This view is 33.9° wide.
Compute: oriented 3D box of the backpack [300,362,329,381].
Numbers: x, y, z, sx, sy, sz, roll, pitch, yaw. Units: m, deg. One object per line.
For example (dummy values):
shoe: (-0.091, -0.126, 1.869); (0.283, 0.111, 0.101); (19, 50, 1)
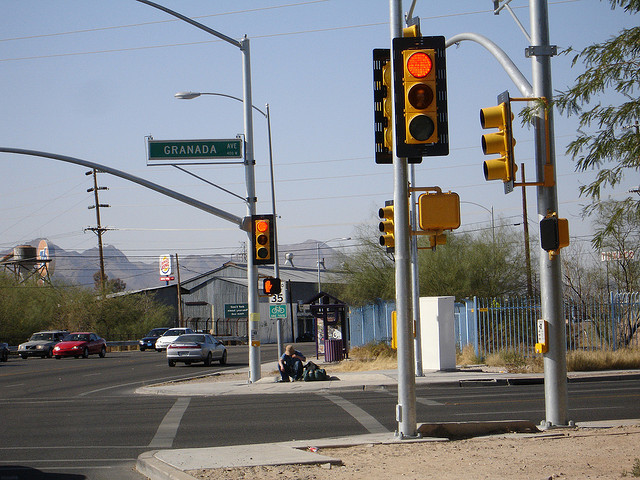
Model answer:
backpack: (-0.233, 4.435, 35.146); (0.791, 0.424, 1.107); (0, -7, 4)

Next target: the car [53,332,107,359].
car: (-12.735, 5.620, 55.706); (1.648, 1.485, 3.517); (-5, -7, 12)

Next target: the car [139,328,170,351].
car: (-10.618, 6.244, 65.810); (1.174, 1.059, 2.748); (-1, -7, 9)

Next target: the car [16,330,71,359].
car: (-14.765, 5.644, 57.002); (1.147, 1.010, 2.704); (-4, -8, 13)

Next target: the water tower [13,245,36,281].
water tower: (-25.581, 2.043, 90.901); (2.168, 3.692, 2.298); (-1, -6, 1)

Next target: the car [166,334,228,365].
car: (-5.467, 4.941, 47.198); (1.922, 1.543, 4.380); (-1, -4, 8)

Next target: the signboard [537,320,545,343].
signboard: (4.904, 2.053, 23.469); (0.110, 0.508, 0.232); (0, -7, -26)

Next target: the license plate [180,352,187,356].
license plate: (-5.882, 4.905, 45.031); (0.208, 0.127, 0.149); (-3, -17, -6)
